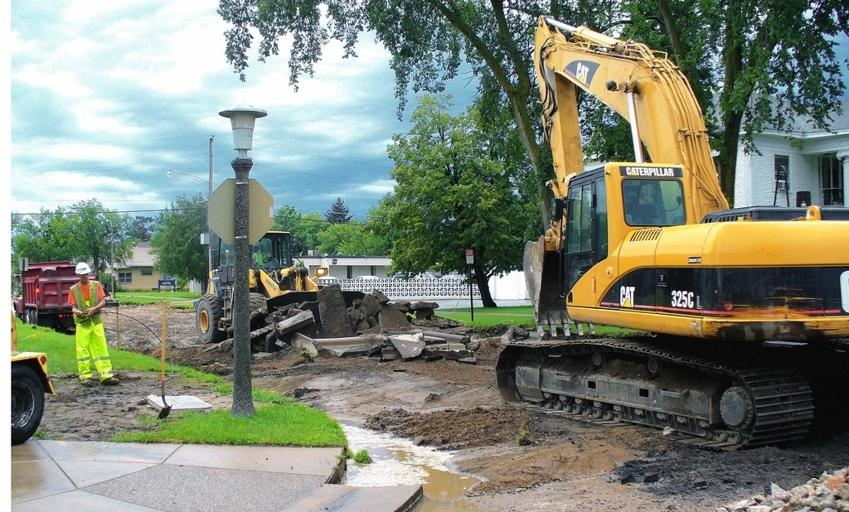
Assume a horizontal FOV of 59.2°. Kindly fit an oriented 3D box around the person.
[{"bbox_3d":[-7.230,1.472,16.357,0.809,2.470,1.327,-2,4,-27],"label":"person"}]

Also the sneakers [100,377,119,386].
[{"bbox_3d":[-6.690,2.677,16.038,0.375,0.160,0.137,-4,2,14],"label":"sneakers"}]

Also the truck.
[{"bbox_3d":[-13.885,1.729,28.479,2.825,2.550,4.997,0,5,-28],"label":"truck"}]

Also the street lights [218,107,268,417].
[{"bbox_3d":[-3.290,0.114,13.559,0.559,5.547,0.909,-1,4,-14],"label":"street lights"}]

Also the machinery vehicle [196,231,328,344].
[{"bbox_3d":[-4.992,0.923,23.932,5.553,3.389,3.271,0,5,43],"label":"machinery vehicle"}]
